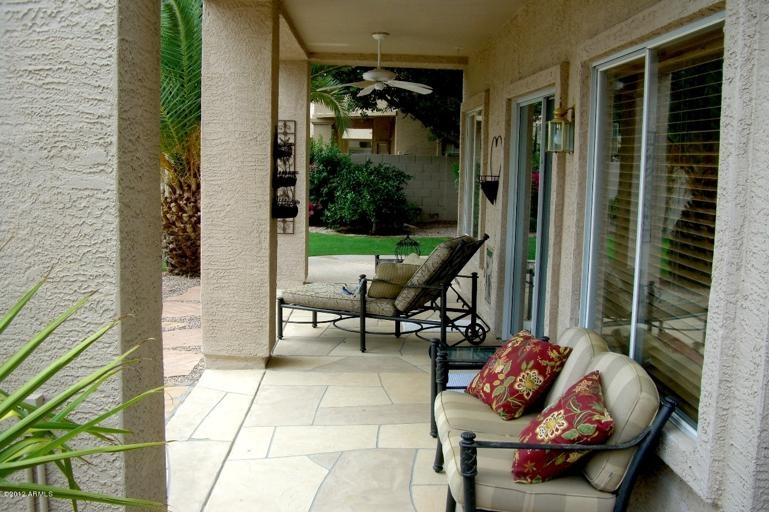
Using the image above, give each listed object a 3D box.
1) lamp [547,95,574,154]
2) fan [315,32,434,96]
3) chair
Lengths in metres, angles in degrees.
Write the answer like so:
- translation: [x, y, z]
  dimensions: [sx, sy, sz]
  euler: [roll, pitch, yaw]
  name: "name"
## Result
- translation: [1.376, -0.981, 4.702]
  dimensions: [0.173, 0.350, 0.259]
  euler: [2, 11, 9]
  name: "lamp"
- translation: [0.017, -2.293, 8.228]
  dimensions: [1.758, 0.783, 1.712]
  euler: [-1, 1, -8]
  name: "fan"
- translation: [-0.025, 0.409, 6.610]
  dimensions: [2.205, 1.222, 1.279]
  euler: [1, -1, 12]
  name: "chair"
